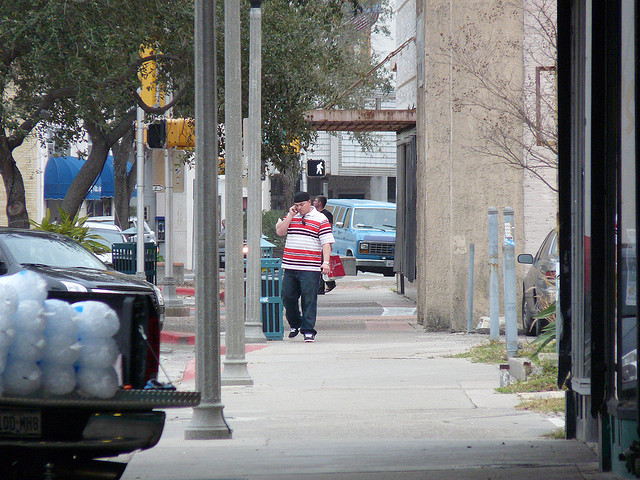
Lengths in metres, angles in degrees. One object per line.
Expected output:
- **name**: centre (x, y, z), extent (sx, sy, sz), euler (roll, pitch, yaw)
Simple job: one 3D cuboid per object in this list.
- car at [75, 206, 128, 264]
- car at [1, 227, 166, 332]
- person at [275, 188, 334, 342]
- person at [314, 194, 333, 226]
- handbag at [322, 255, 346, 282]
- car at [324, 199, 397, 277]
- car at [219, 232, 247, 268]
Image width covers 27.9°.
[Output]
- **car**: centre (-4.766, -0.083, 29.119), extent (1.736, 1.051, 1.055), euler (-2, 0, 41)
- **car**: centre (-3.186, 0.442, 17.691), extent (2.254, 1.240, 1.349), euler (-4, -5, 37)
- **person**: centre (-0.268, 0.457, 19.631), extent (0.714, 2.304, 0.920), euler (0, -3, -37)
- **person**: centre (0.139, -0.566, 25.548), extent (0.426, 0.443, 0.749), euler (0, -2, -9)
- **handbag**: centre (0.248, 0.548, 22.739), extent (0.320, 0.434, 0.581), euler (-21, -4, -3)
- **car**: centre (1.200, -0.076, 33.572), extent (1.298, 1.268, 2.209), euler (2, 2, -21)
- **car**: centre (-2.389, 0.148, 34.590), extent (0.843, 0.871, 1.612), euler (0, 8, 3)
